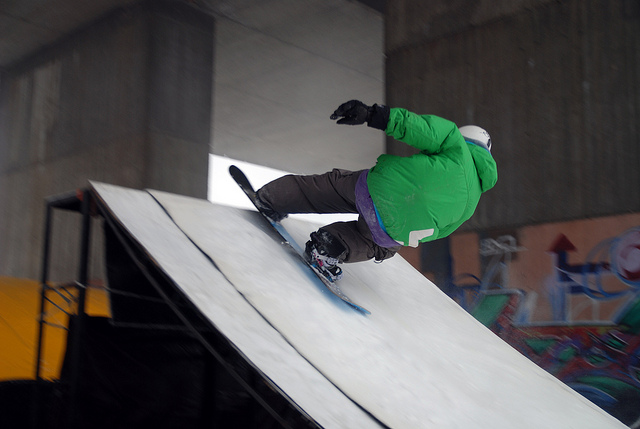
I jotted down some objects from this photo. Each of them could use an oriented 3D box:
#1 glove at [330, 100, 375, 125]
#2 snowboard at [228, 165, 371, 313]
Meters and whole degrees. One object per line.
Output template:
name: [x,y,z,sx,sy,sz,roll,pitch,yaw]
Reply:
glove: [0.321,-0.982,8.844,0.432,0.229,0.191,-4,0,-4]
snowboard: [-0.172,0.281,9.026,0.252,2.131,0.159,-22,-32,-48]
